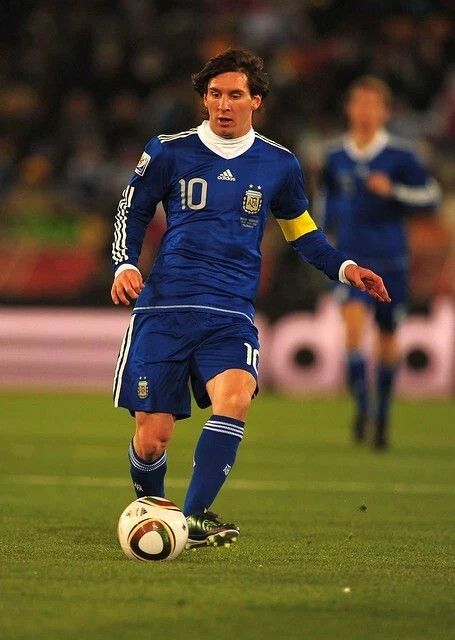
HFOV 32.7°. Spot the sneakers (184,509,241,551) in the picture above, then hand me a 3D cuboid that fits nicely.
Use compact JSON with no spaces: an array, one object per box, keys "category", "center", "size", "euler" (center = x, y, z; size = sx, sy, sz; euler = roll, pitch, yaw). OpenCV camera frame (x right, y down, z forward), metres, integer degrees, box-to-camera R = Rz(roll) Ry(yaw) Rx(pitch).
[{"category":"sneakers","center":[-0.056,0.702,2.586],"size":[0.175,0.144,0.156],"euler":[7,7,-1]}]

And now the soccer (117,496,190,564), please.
[{"category":"soccer","center":[-0.231,0.654,2.443],"size":[0.222,0.152,0.220],"euler":[7,7,0]}]

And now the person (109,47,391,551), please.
[{"category":"person","center":[-0.001,-0.128,2.787],"size":[0.747,1.690,0.755],"euler":[15,9,37]}]
